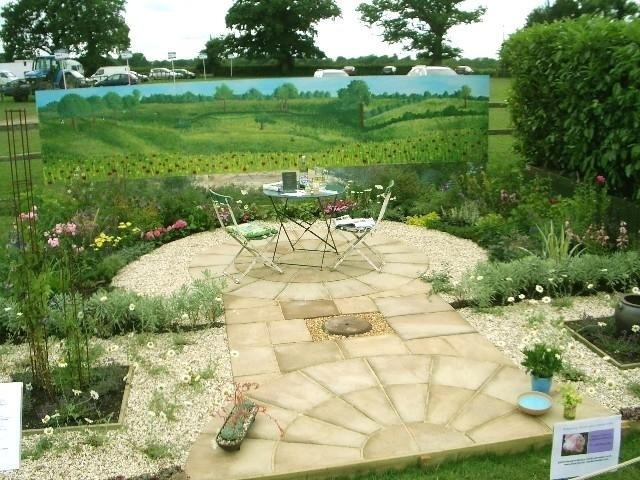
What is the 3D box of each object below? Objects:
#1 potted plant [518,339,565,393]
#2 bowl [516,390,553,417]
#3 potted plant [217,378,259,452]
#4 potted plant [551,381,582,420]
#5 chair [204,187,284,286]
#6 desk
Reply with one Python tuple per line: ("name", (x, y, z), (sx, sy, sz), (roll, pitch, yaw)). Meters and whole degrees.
("potted plant", (1.995, 1.152, 4.490), (0.348, 0.428, 0.267), (-9, 13, -15))
("bowl", (1.822, 1.389, 4.258), (0.271, 0.115, 0.248), (-4, 11, 1))
("potted plant", (-0.682, 1.375, 4.165), (0.304, 0.380, 0.737), (-5, 11, 5))
("potted plant", (2.080, 1.356, 4.209), (0.229, 0.230, 0.192), (4, -1, -37))
("chair", (-1.269, -0.046, 8.253), (1.445, 1.586, 1.400), (-7, 17, -17))
("desk", (-0.223, -0.242, 9.084), (1.327, 1.104, 1.179), (-7, -4, -33))
